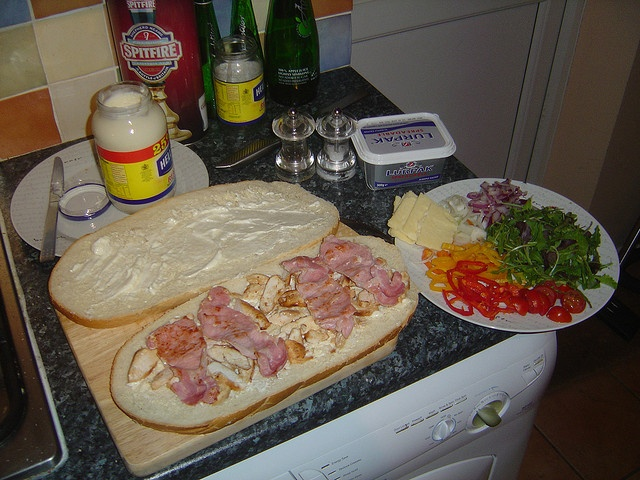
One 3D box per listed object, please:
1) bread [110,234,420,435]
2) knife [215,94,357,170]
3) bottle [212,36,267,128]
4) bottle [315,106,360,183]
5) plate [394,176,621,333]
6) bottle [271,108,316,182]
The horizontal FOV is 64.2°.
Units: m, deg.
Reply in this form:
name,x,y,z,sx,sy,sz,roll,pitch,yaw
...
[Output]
name,x,y,z,sx,sy,sz,roll,pitch,yaw
bread,-0.062,0.177,0.878,0.509,0.101,0.234,-20,62,-20
knife,-0.086,-0.238,1.156,0.342,0.017,0.040,-34,72,-20
bottle,-0.186,-0.358,1.155,0.108,0.181,0.113,-2,39,2
bottle,0.034,-0.229,1.141,0.093,0.157,0.128,-2,39,4
plate,0.363,0.026,0.991,0.380,0.123,0.382,20,45,27
bottle,-0.061,-0.202,1.123,0.088,0.157,0.087,1,51,-1
